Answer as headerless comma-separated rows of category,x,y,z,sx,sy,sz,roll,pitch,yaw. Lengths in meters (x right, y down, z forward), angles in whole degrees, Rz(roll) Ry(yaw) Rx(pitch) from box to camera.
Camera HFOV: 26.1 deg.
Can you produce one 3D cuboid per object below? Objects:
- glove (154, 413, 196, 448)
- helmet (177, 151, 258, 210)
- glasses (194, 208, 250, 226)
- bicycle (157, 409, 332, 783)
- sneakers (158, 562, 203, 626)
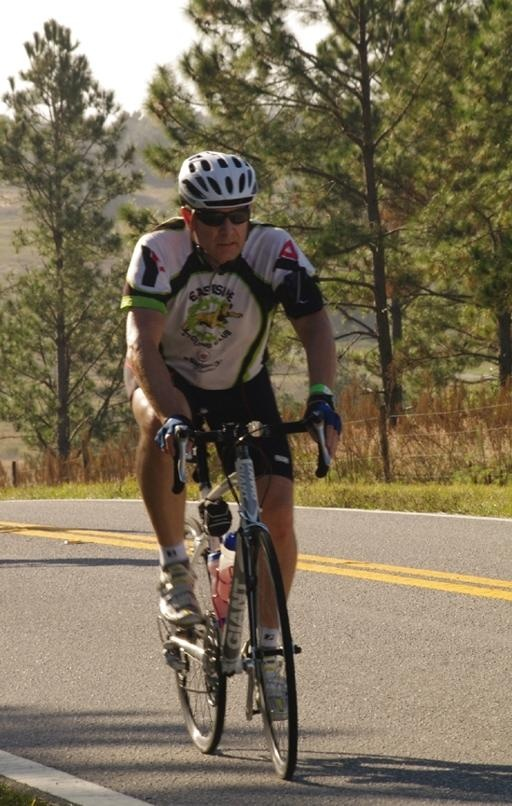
glove,-0.264,0.091,3.597,0.082,0.053,0.115,0,-13,-28
helmet,-0.143,-0.798,3.956,0.278,0.178,0.232,-4,1,-1
glasses,-0.118,-0.662,3.970,0.201,0.055,0.115,-4,1,-10
bicycle,-0.054,0.676,3.995,0.600,1.047,1.072,-4,1,-6
sneakers,-0.297,0.706,4.130,0.104,0.142,0.303,-3,16,-17
